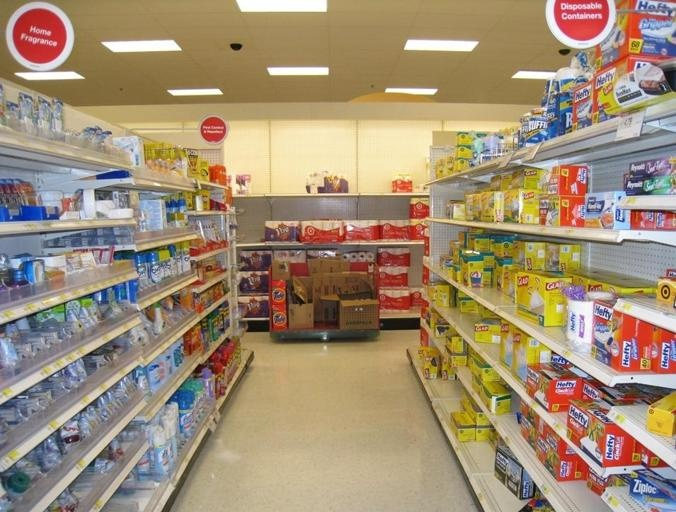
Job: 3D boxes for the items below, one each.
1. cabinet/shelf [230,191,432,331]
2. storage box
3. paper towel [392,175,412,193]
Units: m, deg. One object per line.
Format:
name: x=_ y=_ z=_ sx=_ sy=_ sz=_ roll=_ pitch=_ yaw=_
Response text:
cabinet/shelf: x=-0.118 y=0.117 z=6.620 sx=2.293 sy=1.364 sz=0.713 roll=-1 pitch=0 yaw=-3
storage box: x=-0.154 y=0.549 z=6.573 sx=1.461 sy=0.854 sz=0.992 roll=-1 pitch=0 yaw=1
paper towel: x=0.947 y=-1.075 z=7.149 sx=0.336 sy=0.296 sz=0.243 roll=2 pitch=19 yaw=4
